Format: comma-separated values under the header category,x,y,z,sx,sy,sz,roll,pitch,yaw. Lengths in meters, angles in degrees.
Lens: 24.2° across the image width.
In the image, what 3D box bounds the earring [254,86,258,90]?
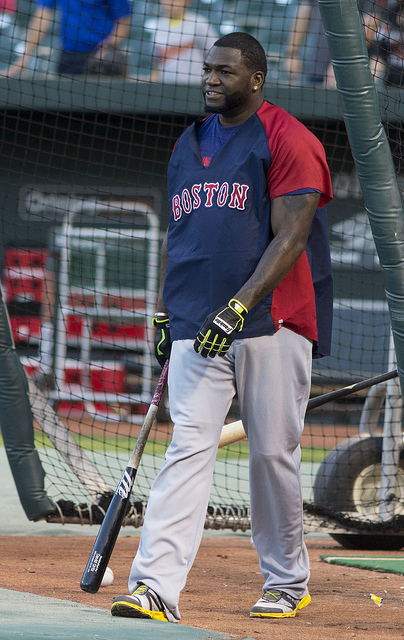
category,x,y,z,sx,sy,sz,roll,pitch,yaw
earring,0.166,-0.710,2.888,0.011,0.009,0.001,-8,10,-40

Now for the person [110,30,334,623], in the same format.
category,x,y,z,sx,sy,sz,roll,pitch,yaw
person,0.029,0.030,2.844,0.766,1.790,0.446,-9,11,-38

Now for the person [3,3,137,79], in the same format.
category,x,y,z,sx,sy,sz,roll,pitch,yaw
person,-1.102,-2.443,8.325,1.095,0.567,1.489,-4,7,-19
